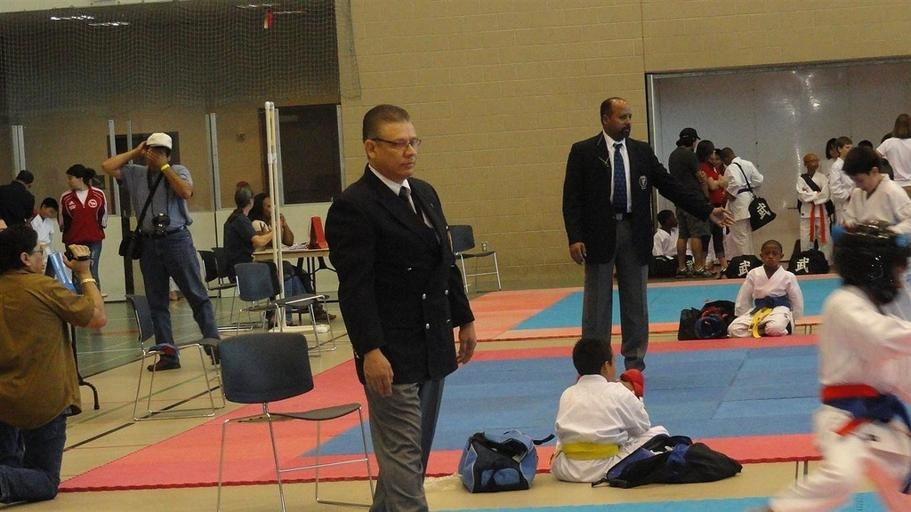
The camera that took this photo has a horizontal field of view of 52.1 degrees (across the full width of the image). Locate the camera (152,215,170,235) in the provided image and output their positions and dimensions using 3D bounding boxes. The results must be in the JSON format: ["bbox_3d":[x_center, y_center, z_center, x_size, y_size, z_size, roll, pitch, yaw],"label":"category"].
[{"bbox_3d":[-4.048,-0.443,12.889,0.238,0.255,0.112,14,9,-5],"label":"camera"}]

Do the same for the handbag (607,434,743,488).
[{"bbox_3d":[2.208,2.105,9.417,0.863,0.264,0.723,-1,-3,-2],"label":"handbag"}]

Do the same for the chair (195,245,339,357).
[{"bbox_3d":[-2.866,0.663,14.325,0.728,1.073,1.863,-4,-1,19],"label":"chair"}]

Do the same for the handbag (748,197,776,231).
[{"bbox_3d":[5.907,-0.804,17.991,0.532,0.568,0.339,-34,4,-30],"label":"handbag"}]

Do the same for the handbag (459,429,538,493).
[{"bbox_3d":[0.464,2.098,9.654,0.697,0.419,0.651,1,-2,-4],"label":"handbag"}]

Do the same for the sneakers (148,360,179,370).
[{"bbox_3d":[-4.175,1.570,13.416,0.455,0.161,0.146,4,-4,-17],"label":"sneakers"}]

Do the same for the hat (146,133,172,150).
[{"bbox_3d":[-4.103,-1.595,12.932,0.335,0.231,0.386,-5,7,-12],"label":"hat"}]

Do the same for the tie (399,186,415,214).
[{"bbox_3d":[-0.437,-0.514,8.560,0.167,0.221,0.060,-30,3,-39],"label":"tie"}]

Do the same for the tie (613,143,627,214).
[{"bbox_3d":[1.937,-0.924,11.035,0.174,0.807,0.130,-4,8,0],"label":"tie"}]
